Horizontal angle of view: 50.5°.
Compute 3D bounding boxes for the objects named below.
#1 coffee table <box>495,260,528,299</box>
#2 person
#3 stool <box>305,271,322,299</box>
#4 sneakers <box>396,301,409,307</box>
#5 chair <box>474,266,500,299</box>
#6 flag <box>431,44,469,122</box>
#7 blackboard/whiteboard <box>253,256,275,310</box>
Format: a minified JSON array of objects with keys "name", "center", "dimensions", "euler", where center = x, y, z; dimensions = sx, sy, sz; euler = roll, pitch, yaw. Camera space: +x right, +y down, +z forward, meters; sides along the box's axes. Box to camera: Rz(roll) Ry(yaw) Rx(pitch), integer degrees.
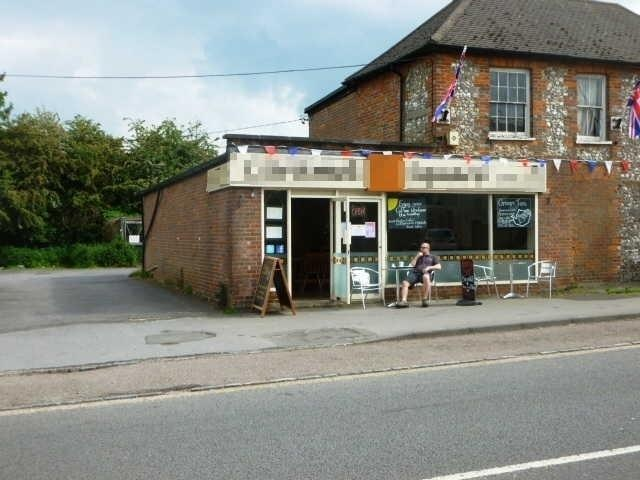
[{"name":"coffee table","center":[5.338,1.071,18.656],"dimensions":[0.852,1.007,0.905],"euler":[2,4,2]},{"name":"person","center":[2.454,0.875,16.793],"dimensions":[0.792,1.531,1.057],"euler":[3,8,31]},{"name":"stool","center":[-0.247,1.291,20.776],"dimensions":[0.564,0.891,0.608],"euler":[2,-3,2]},{"name":"sneakers","center":[1.987,1.577,16.591],"dimensions":[0.222,0.113,0.133],"euler":[2,-2,11]},{"name":"chair","center":[4.419,1.052,18.386],"dimensions":[0.698,1.029,0.663],"euler":[-9,-5,41]},{"name":"flag","center":[3.477,-4.270,18.320],"dimensions":[0.604,2.171,0.253],"euler":[33,10,30]},{"name":"blackboard/whiteboard","center":[-1.316,1.070,15.702],"dimensions":[0.456,1.346,0.929],"euler":[-2,7,-12]}]
